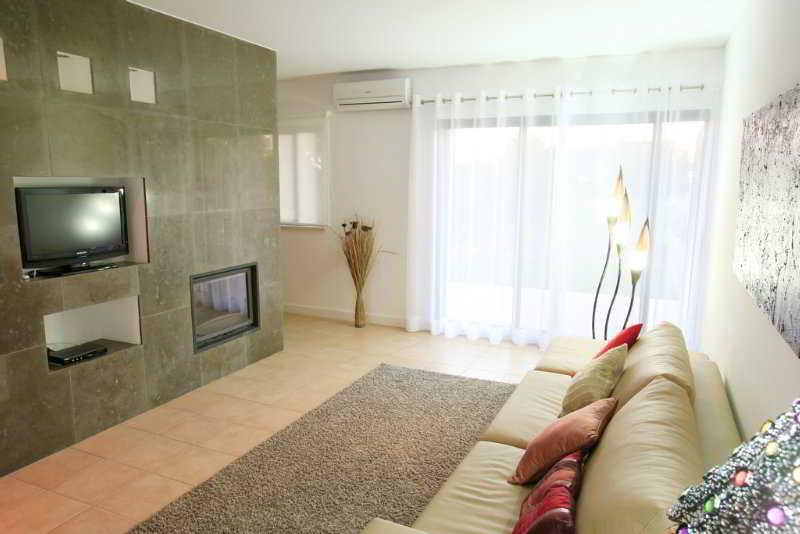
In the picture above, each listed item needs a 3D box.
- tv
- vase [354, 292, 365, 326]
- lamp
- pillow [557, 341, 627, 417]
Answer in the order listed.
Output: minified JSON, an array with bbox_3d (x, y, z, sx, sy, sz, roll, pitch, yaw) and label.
[{"bbox_3d":[-2.500,-0.290,4.041,0.247,0.652,0.878,10,13,18],"label":"tv"},{"bbox_3d":[-0.499,0.514,6.560,0.132,0.400,0.264,-2,12,-5],"label":"vase"},{"bbox_3d":[2.130,-0.062,5.116,0.510,1.760,0.902,5,13,25],"label":"lamp"},{"bbox_3d":[1.177,0.682,3.240,0.345,0.398,0.587,3,-4,13],"label":"pillow"}]
